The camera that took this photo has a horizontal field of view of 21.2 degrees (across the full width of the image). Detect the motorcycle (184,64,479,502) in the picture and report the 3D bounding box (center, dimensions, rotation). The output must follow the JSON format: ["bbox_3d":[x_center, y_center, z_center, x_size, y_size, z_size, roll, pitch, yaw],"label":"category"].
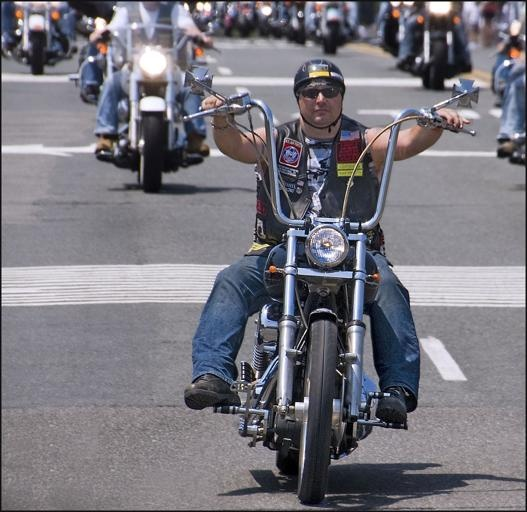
[{"bbox_3d":[0.215,0.131,6.777,1.130,2.044,1.319,9,15,27],"label":"motorcycle"}]

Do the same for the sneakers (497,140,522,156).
[{"bbox_3d":[2.778,-1.227,15.879,0.201,0.271,0.625,0,1,5],"label":"sneakers"}]

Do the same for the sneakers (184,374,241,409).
[{"bbox_3d":[-0.253,0.678,6.683,0.262,0.123,0.189,19,40,-17],"label":"sneakers"}]

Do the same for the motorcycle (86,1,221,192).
[{"bbox_3d":[-0.877,-1.336,11.184,0.835,1.094,1.861,1,6,-6],"label":"motorcycle"}]

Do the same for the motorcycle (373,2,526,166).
[{"bbox_3d":[3.138,-3.267,23.071,1.679,1.835,3.092,1,2,0],"label":"motorcycle"}]

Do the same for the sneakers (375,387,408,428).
[{"bbox_3d":[0.604,0.712,6.649,0.143,0.140,0.171,3,14,4],"label":"sneakers"}]
